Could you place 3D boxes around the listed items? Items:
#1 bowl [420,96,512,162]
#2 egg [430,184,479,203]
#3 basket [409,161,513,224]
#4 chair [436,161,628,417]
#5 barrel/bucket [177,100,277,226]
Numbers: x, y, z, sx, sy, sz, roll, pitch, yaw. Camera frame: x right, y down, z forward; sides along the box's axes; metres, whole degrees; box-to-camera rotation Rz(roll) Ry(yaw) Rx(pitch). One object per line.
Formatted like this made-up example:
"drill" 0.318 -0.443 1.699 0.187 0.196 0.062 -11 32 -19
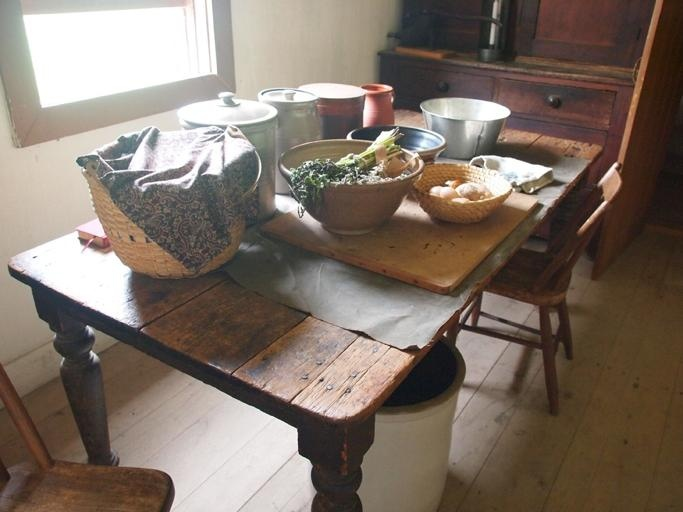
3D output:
"bowl" 0.531 -0.522 2.399 0.327 0.148 0.312 4 18 -1
"egg" 0.388 -0.212 1.869 0.106 0.038 0.090 7 17 4
"basket" 0.414 -0.222 1.922 0.318 0.114 0.313 -16 41 -34
"chair" 0.766 0.173 2.254 0.708 1.038 0.531 15 49 27
"barrel/bucket" -0.401 -0.335 1.932 0.366 0.399 0.375 -1 8 0
